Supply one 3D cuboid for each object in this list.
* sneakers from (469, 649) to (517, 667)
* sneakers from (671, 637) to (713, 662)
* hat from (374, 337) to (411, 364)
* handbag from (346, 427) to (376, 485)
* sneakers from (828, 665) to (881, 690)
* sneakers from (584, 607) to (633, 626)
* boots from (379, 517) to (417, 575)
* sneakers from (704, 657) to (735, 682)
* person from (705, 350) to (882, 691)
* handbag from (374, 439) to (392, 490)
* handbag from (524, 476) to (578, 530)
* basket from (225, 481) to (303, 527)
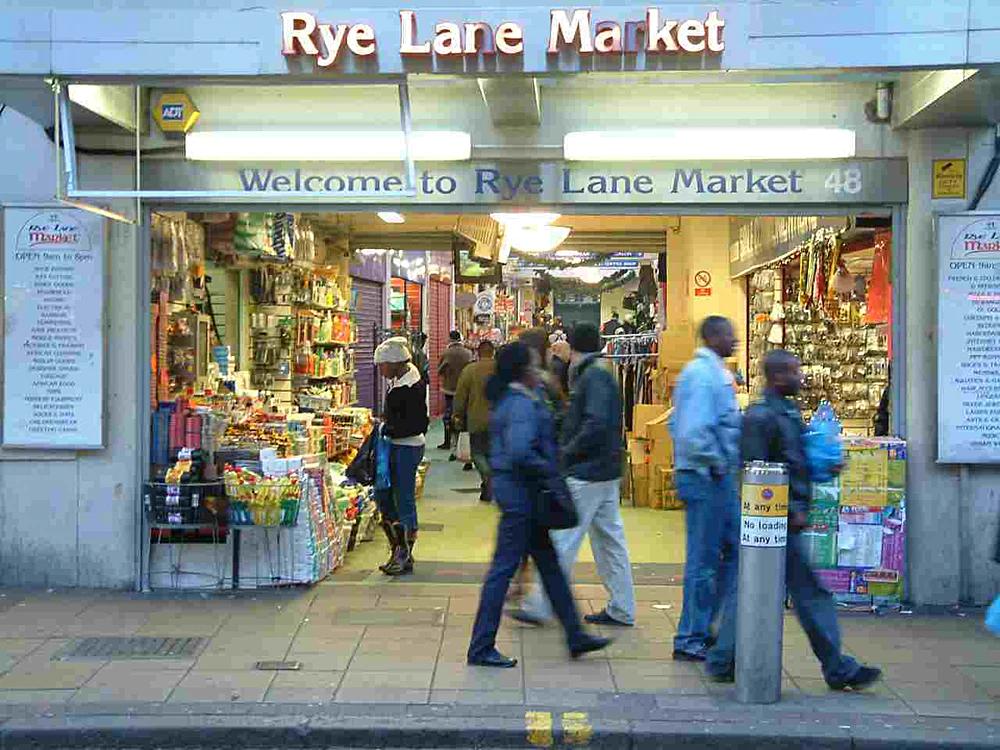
[{"bbox_3d":[-0.053,1.915,7.136,0.328,0.130,0.124,0,-2,-2],"label":"sneakers"},{"bbox_3d":[1.329,1.907,7.214,0.275,0.117,0.108,-2,3,5],"label":"sneakers"},{"bbox_3d":[-0.983,-0.196,9.188,0.345,0.245,0.249,-2,5,11],"label":"hat"},{"bbox_3d":[-1.202,0.716,9.094,0.275,0.543,0.400,-1,7,-9],"label":"handbag"},{"bbox_3d":[2.276,1.942,6.718,0.241,0.105,0.095,-18,17,2],"label":"sneakers"},{"bbox_3d":[0.836,1.860,7.994,0.369,0.142,0.128,3,-5,9],"label":"sneakers"},{"bbox_3d":[-0.886,1.543,9.154,0.496,0.520,0.275,1,-2,-24],"label":"boots"},{"bbox_3d":[1.451,1.959,6.946,0.232,0.125,0.187,8,-40,8],"label":"sneakers"},{"bbox_3d":[1.902,0.953,6.700,1.053,2.173,0.479,1,7,11],"label":"person"},{"bbox_3d":[-1.031,0.765,9.033,0.132,0.475,0.121,-1,7,-11],"label":"handbag"},{"bbox_3d":[0.358,0.844,6.901,0.278,0.374,0.137,0,7,0],"label":"handbag"},{"bbox_3d":[-1.919,1.072,8.396,0.674,0.435,0.362,1,-19,-2],"label":"basket"}]
